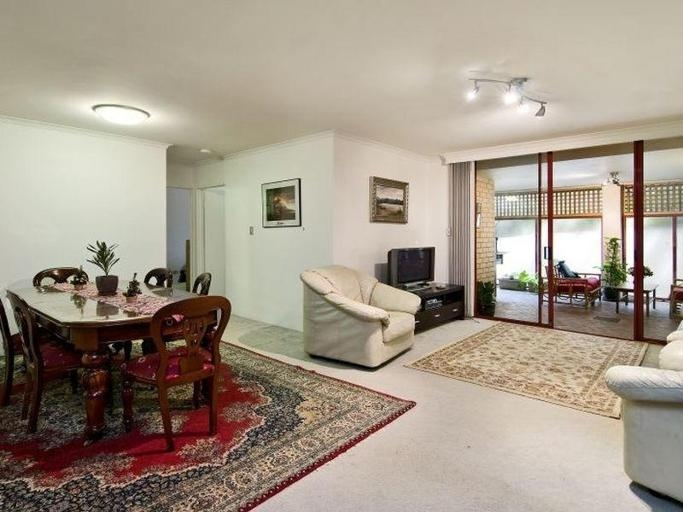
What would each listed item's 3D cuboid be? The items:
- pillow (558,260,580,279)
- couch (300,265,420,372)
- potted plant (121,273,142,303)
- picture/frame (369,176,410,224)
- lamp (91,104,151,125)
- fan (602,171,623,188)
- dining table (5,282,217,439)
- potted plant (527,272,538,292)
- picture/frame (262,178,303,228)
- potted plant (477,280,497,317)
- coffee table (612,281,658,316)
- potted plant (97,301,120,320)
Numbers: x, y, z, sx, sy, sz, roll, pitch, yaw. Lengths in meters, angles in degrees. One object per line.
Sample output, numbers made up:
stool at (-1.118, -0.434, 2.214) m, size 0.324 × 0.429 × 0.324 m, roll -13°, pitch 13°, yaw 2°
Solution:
pillow at (4.694, 0.218, 9.255) m, size 0.393 × 0.116 × 0.391 m, roll 24°, pitch 40°, yaw -13°
couch at (0.277, 0.697, 5.193) m, size 1.155 × 0.955 × 1.279 m, roll 2°, pitch 4°, yaw 32°
potted plant at (-2.162, 0.328, 4.608) m, size 0.218 × 0.304 × 0.226 m, roll 1°, pitch -5°, yaw -8°
picture/frame at (0.693, -0.838, 6.615) m, size 0.062 × 0.570 × 0.803 m, roll 1°, pitch 3°, yaw 40°
lamp at (-2.496, -1.616, 5.101) m, size 0.616 × 0.185 × 0.480 m, roll -4°, pitch 12°, yaw -22°
fan at (5.672, -1.596, 9.370) m, size 0.329 × 0.147 × 0.338 m, roll 1°, pitch 3°, yaw 40°
dining table at (-1.868, 0.372, 3.774) m, size 1.096 × 0.797 × 2.223 m, roll -3°, pitch 7°, yaw -43°
potted plant at (4.360, 0.607, 10.120) m, size 0.337 × 0.386 × 0.390 m, roll 0°, pitch -1°, yaw 35°
picture/frame at (-0.802, -0.763, 6.318) m, size 0.751 × 0.688 × 0.056 m, roll 1°, pitch 2°, yaw 41°
potted plant at (2.336, 0.678, 7.226) m, size 0.277 × 0.549 × 0.411 m, roll 3°, pitch 11°, yaw 16°
coffee table at (4.648, 0.638, 7.054) m, size 0.956 × 0.473 × 0.703 m, roll 0°, pitch 0°, yaw -41°
potted plant at (-1.915, 0.445, 3.667) m, size 0.143 × 0.176 × 0.135 m, roll 1°, pitch -2°, yaw 19°
